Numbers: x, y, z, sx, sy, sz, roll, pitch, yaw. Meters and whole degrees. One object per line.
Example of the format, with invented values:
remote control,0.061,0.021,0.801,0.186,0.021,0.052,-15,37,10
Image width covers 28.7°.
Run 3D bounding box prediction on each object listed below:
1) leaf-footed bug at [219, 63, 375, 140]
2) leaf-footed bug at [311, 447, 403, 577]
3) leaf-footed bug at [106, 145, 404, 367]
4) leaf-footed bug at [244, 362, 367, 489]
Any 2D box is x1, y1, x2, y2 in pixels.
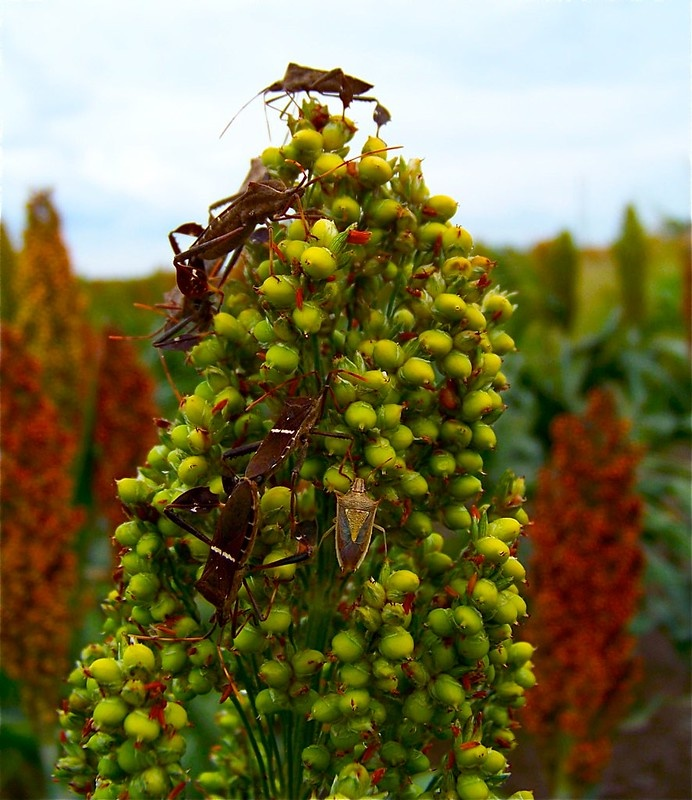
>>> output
leaf-footed bug,-0.090,-0.780,3.354,0.231,0.095,0.301,-21,-7,9
leaf-footed bug,-0.003,0.277,3.100,0.214,0.230,0.068,7,4,1
leaf-footed bug,-0.271,-0.391,3.365,0.683,0.227,0.496,-24,17,-4
leaf-footed bug,-0.110,0.069,3.224,0.104,0.300,0.243,36,-12,-32
